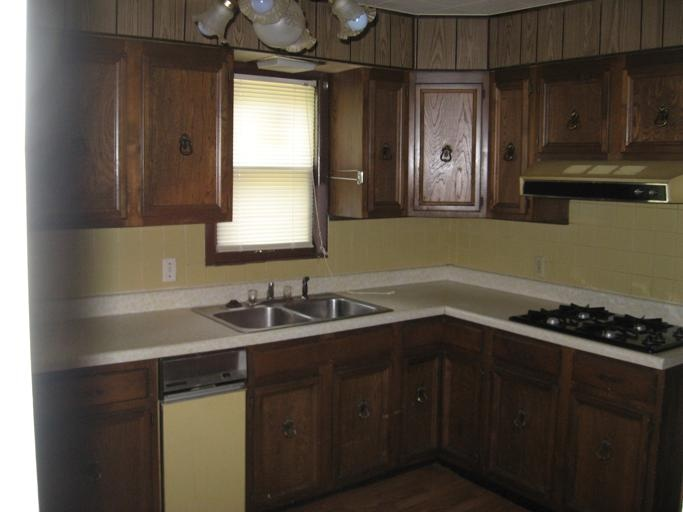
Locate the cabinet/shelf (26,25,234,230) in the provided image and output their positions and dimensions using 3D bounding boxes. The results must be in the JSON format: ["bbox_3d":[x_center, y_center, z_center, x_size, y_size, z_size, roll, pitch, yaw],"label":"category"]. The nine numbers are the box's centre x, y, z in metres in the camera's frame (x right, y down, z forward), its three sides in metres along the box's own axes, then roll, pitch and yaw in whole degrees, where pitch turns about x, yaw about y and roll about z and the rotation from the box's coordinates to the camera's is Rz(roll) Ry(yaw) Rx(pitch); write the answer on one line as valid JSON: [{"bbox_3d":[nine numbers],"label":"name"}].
[{"bbox_3d":[-1.043,-0.593,2.815,0.998,0.872,0.370,-7,19,-40],"label":"cabinet/shelf"}]

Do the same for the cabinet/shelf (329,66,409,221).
[{"bbox_3d":[0.159,-0.683,3.657,0.392,0.876,0.448,-5,16,-22],"label":"cabinet/shelf"}]
